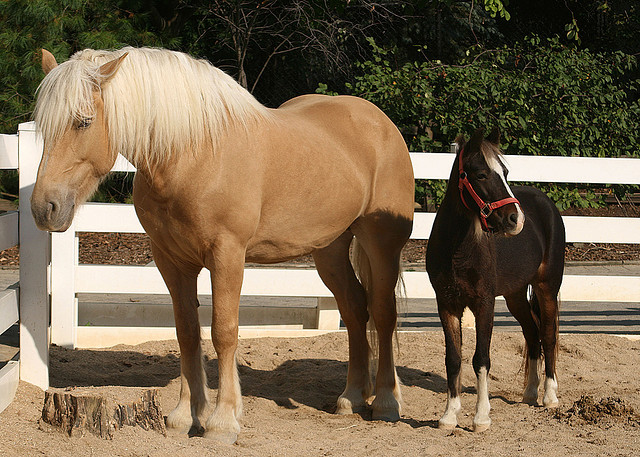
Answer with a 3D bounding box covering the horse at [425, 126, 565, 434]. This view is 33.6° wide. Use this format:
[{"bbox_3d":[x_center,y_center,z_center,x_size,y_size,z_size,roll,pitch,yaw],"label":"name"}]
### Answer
[{"bbox_3d":[1.792,0.586,10.785,1.056,3.048,3.130,0,0,26],"label":"horse"}]
